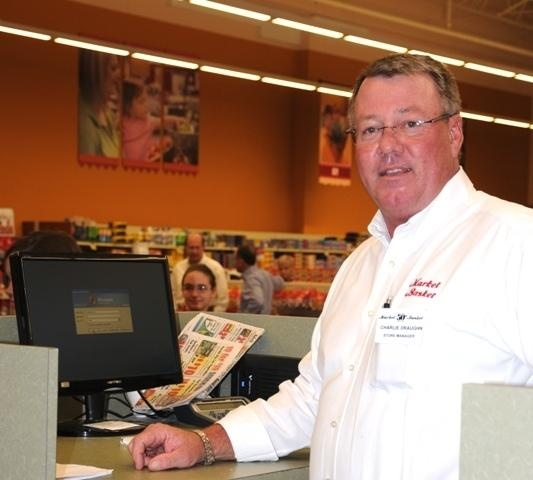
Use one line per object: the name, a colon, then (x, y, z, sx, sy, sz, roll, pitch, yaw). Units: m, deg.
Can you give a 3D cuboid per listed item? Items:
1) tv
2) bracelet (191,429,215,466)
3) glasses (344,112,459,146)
tv: (-0.456, 0.273, 1.497, 0.166, 0.455, 0.467, -13, -14, 43)
bracelet: (-0.145, 0.484, 1.317, 0.025, 0.069, 0.053, -14, -6, 1)
glasses: (0.299, -0.254, 1.327, 0.134, 0.071, 0.255, -8, 12, -44)
